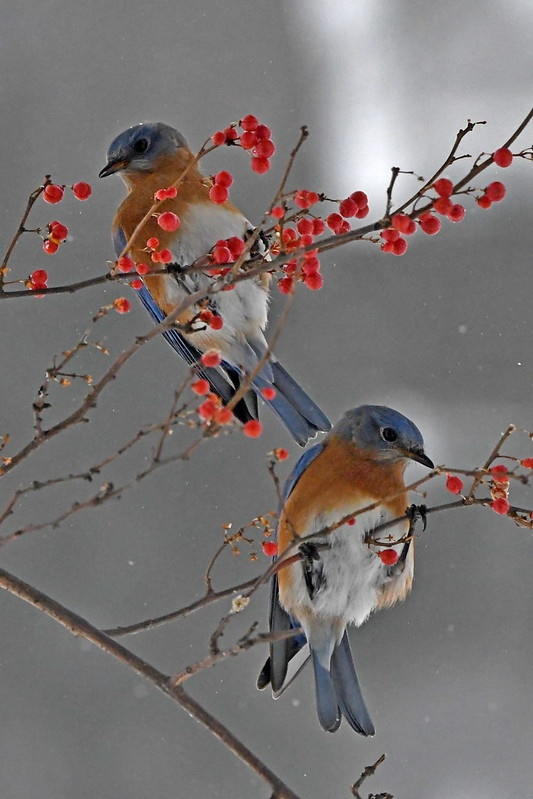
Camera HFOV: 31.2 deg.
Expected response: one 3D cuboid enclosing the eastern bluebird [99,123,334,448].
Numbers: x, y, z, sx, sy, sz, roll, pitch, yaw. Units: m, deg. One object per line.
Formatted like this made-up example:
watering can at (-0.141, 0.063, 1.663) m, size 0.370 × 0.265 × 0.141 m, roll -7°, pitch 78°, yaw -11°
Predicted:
eastern bluebird at (-0.214, -0.432, 3.396) m, size 0.547 × 1.251 × 0.389 m, roll -28°, pitch -12°, yaw 17°
